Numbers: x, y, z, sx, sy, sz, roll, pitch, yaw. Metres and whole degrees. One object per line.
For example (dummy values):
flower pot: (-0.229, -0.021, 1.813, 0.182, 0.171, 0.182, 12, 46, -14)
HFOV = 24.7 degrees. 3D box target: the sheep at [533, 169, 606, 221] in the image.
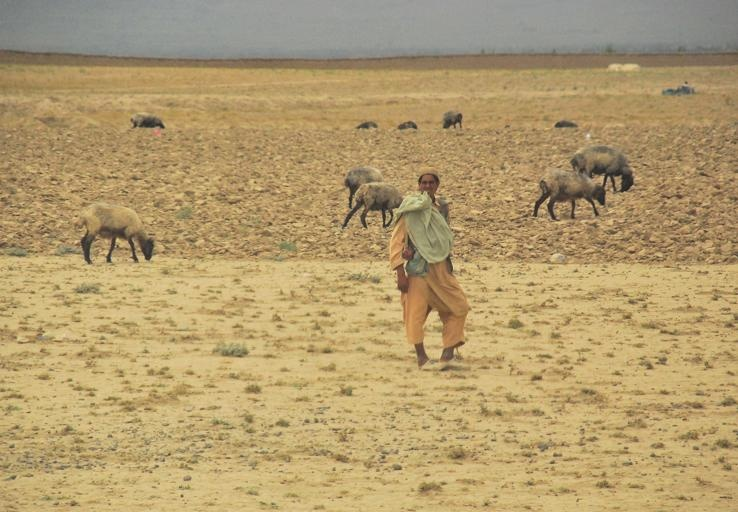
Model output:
sheep: (6.658, -2.109, 56.753, 2.343, 1.585, 1.521, 1, 11, 3)

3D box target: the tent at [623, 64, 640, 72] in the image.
tent: (16.971, -12.221, 109.270, 1.682, 0.353, 1.500, 0, 15, 3)

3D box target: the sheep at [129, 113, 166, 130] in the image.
sheep: (-9.423, -5.827, 72.667, 1.810, 0.580, 1.367, -4, 11, -25)

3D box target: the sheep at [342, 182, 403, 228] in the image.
sheep: (0.201, -1.789, 57.072, 2.030, 1.703, 1.550, -15, 27, -30)

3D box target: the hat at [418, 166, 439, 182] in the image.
hat: (1.659, -2.339, 47.560, 0.582, 0.387, 0.540, 0, -1, 0)

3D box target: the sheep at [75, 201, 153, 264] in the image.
sheep: (-8.133, -0.792, 54.084, 2.311, 1.877, 1.084, -2, 12, -15)
